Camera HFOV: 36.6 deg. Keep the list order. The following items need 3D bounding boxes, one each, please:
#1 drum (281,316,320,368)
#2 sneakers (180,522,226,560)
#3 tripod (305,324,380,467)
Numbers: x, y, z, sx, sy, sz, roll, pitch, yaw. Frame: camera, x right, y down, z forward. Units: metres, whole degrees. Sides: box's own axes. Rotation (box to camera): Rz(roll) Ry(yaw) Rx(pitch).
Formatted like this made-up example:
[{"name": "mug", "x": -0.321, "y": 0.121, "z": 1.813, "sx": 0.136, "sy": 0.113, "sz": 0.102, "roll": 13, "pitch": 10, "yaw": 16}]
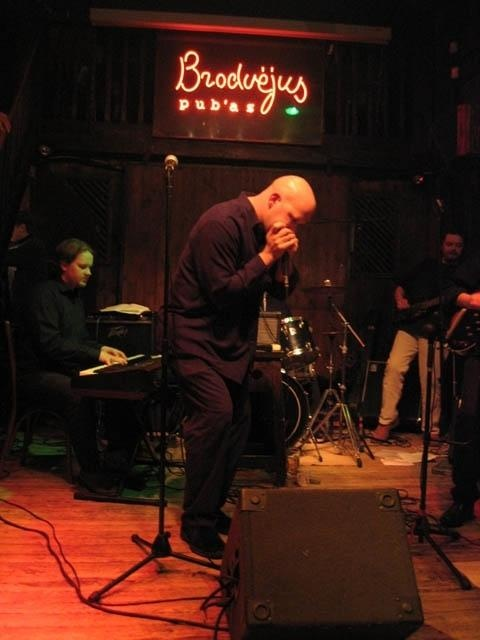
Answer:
[{"name": "drum", "x": 0.419, "y": 0.177, "z": 5.460, "sx": 0.340, "sy": 0.315, "sz": 0.331, "roll": -13, "pitch": -31, "yaw": -4}, {"name": "sneakers", "x": -0.150, "y": 0.883, "z": 2.877, "sx": 0.102, "sy": 0.076, "sz": 0.194, "roll": 19, "pitch": -17, "yaw": -36}, {"name": "tripod", "x": 0.789, "y": 0.623, "z": 5.702, "sx": 0.851, "sy": 1.241, "sz": 0.799, "roll": 0, "pitch": -8, "yaw": 6}]
